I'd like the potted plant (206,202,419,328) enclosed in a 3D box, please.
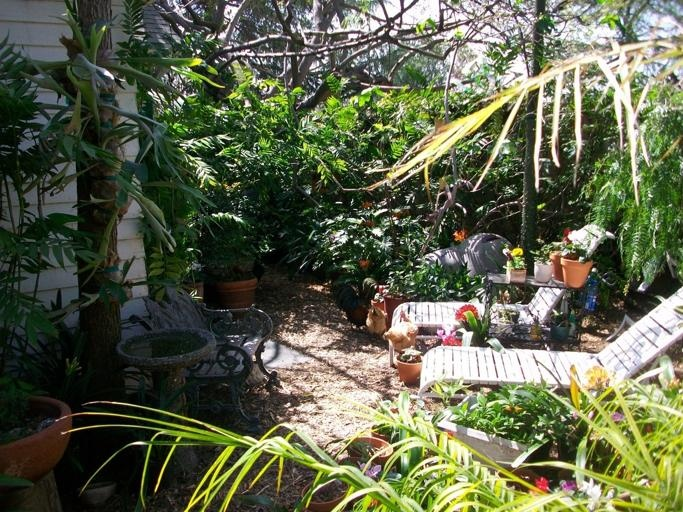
[{"bbox_3d":[-0.242,-0.034,6.088,1.847,0.814,1.224,10,16,8],"label":"potted plant"}]

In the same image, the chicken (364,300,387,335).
[{"bbox_3d":[0.369,0.639,5.436,0.143,0.199,0.398,-2,-27,2],"label":"chicken"}]

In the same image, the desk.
[{"bbox_3d":[1.839,0.531,5.195,0.768,0.531,0.802,1,3,5],"label":"desk"}]

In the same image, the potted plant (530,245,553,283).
[{"bbox_3d":[1.886,0.074,4.969,0.167,0.321,0.191,3,1,14],"label":"potted plant"}]

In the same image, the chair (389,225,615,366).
[{"bbox_3d":[1.352,0.311,5.575,2.293,1.421,1.232,1,11,4],"label":"chair"}]

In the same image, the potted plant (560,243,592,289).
[{"bbox_3d":[2.122,0.144,4.833,0.255,0.265,0.265,-2,12,-8],"label":"potted plant"}]

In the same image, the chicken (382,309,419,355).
[{"bbox_3d":[0.535,0.685,4.773,0.222,0.260,0.333,2,14,21],"label":"chicken"}]

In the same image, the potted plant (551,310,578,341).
[{"bbox_3d":[2.158,0.680,5.221,0.228,0.321,0.321,-1,-7,18],"label":"potted plant"}]

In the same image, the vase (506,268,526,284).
[{"bbox_3d":[1.608,0.182,4.880,0.130,0.092,0.136,0,-2,1],"label":"vase"}]

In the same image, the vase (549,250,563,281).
[{"bbox_3d":[1.991,0.094,4.930,0.210,0.253,0.220,1,3,21],"label":"vase"}]

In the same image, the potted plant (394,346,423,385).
[{"bbox_3d":[0.576,0.915,4.453,0.231,0.190,0.248,0,3,6],"label":"potted plant"}]

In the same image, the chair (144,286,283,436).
[{"bbox_3d":[-0.942,0.654,3.982,0.785,0.822,1.338,1,6,-4],"label":"chair"}]
